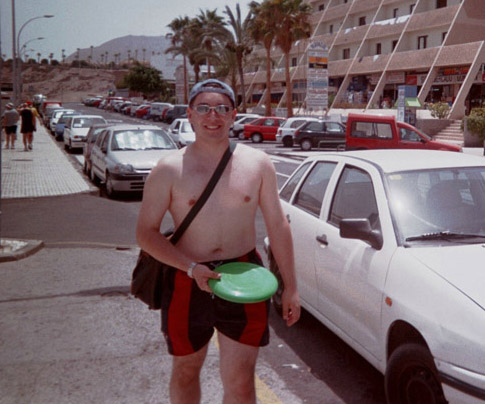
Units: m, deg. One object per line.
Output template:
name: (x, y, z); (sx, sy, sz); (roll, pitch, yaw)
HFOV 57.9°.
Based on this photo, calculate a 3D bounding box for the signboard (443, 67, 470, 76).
signboard: (19.913, -12.195, 40.988); (0.220, 0.893, 2.858); (-1, 8, -16)

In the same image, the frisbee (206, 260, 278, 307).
frisbee: (-0.004, 0.357, 1.984); (0.316, 0.105, 0.262); (1, 8, 3)

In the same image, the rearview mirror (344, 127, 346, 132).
rearview mirror: (6.394, -4.556, 27.557); (0.041, 0.293, 0.179); (4, 7, 28)

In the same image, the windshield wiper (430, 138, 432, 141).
windshield wiper: (8.487, -2.805, 19.782); (0.079, 0.092, 1.853); (4, 9, 23)

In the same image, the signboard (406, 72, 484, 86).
signboard: (19.069, -11.501, 41.031); (2.955, 1.978, 8.836); (7, 11, 22)

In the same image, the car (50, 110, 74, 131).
car: (-15.984, -7.385, 37.977); (1.462, 1.550, 2.773); (-2, 6, -18)

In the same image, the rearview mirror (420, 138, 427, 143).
rearview mirror: (7.748, -2.636, 18.816); (0.277, 0.180, 0.107); (3, 7, 18)

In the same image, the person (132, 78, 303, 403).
person: (-0.139, 0.393, 2.459); (0.891, 2.109, 1.104); (-1, 6, -15)

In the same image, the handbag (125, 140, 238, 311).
handbag: (-0.334, 0.138, 2.188); (0.187, 0.924, 0.478); (20, 15, 0)

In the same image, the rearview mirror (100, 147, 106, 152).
rearview mirror: (-4.345, -1.609, 13.665); (0.142, 0.128, 0.154); (0, 3, -25)
